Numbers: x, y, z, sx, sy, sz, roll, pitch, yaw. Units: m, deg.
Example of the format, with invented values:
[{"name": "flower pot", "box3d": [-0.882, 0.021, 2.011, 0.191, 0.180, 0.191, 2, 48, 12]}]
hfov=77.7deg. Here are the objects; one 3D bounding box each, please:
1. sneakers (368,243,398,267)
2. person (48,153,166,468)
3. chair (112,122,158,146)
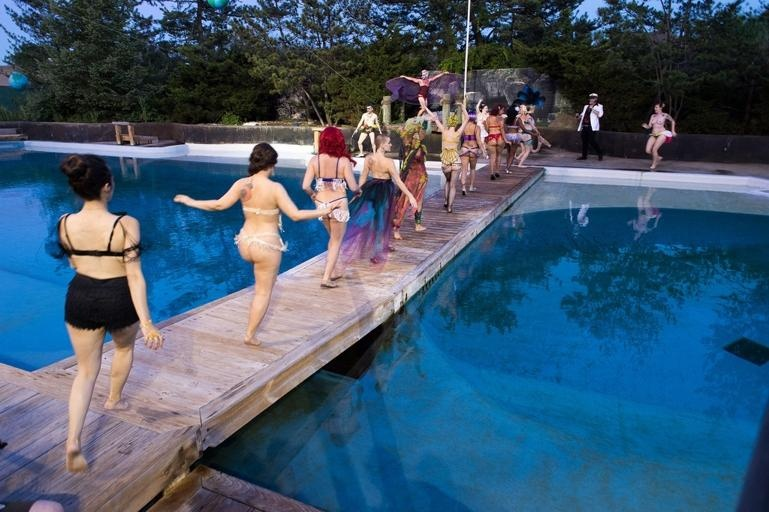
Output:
[{"name": "sneakers", "box3d": [-0.009, -0.052, 8.028, 0.182, 0.281, 0.650, 6, 26, 19]}, {"name": "person", "box3d": [-2.404, 0.443, 4.035, 0.820, 2.504, 0.824, -8, 18, -28]}, {"name": "chair", "box3d": [-11.977, -5.893, 22.997, 1.622, 0.948, 2.741, -9, 20, -31]}]
